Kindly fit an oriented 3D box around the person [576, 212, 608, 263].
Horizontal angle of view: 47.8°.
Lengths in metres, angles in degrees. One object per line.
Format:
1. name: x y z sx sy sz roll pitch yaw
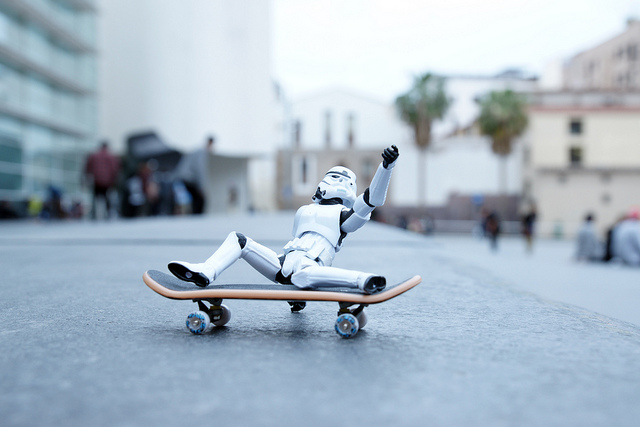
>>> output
1. person: 7.204 0.658 19.162 0.727 1.184 1.280 -1 3 20
